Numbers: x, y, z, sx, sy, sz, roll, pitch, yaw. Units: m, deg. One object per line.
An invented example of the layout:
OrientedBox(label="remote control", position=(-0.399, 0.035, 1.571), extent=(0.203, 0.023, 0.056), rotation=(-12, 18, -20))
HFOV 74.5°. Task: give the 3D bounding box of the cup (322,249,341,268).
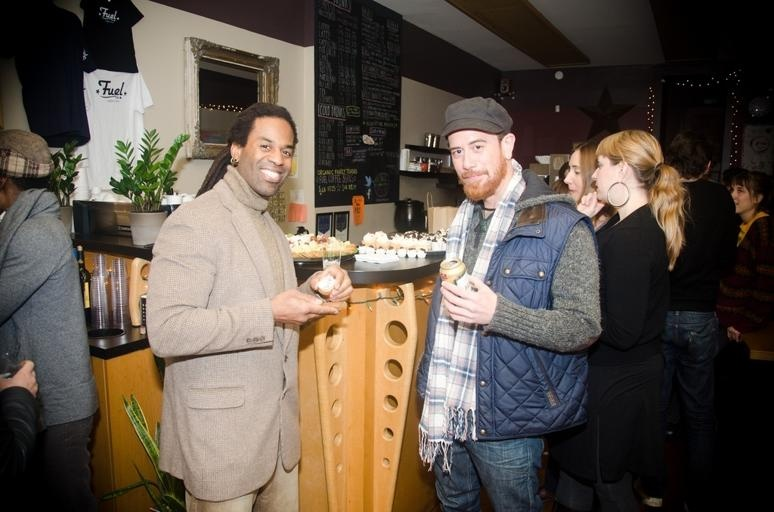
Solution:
OrientedBox(label="cup", position=(-0.277, 0.008, 2.440), extent=(0.081, 0.113, 0.082), rotation=(1, 5, 0))

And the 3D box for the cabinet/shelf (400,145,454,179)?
OrientedBox(label="cabinet/shelf", position=(0.491, -1.194, 6.505), extent=(0.216, 0.341, 0.912), rotation=(11, 10, 43))

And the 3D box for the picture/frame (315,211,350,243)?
OrientedBox(label="picture/frame", position=(-0.548, -0.339, 5.261), extent=(0.259, 0.338, 0.493), rotation=(0, -1, 26))

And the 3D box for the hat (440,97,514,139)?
OrientedBox(label="hat", position=(0.438, -0.614, 2.311), extent=(0.176, 0.106, 0.245), rotation=(4, 11, 33))

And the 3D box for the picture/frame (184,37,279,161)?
OrientedBox(label="picture/frame", position=(-1.306, -1.304, 4.385), extent=(0.106, 0.903, 0.897), rotation=(14, 18, 34))

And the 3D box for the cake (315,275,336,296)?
OrientedBox(label="cake", position=(-0.285, 0.128, 2.360), extent=(0.069, 0.056, 0.095), rotation=(1, 22, 2))

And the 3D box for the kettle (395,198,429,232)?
OrientedBox(label="kettle", position=(0.253, -0.494, 6.047), extent=(0.401, 0.441, 0.418), rotation=(0, 5, -5))

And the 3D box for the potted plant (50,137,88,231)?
OrientedBox(label="potted plant", position=(-2.206, -0.461, 3.541), extent=(0.174, 0.402, 0.148), rotation=(0, 5, -14))

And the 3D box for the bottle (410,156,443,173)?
OrientedBox(label="bottle", position=(0.481, -1.120, 6.364), extent=(0.251, 0.131, 0.313), rotation=(-1, 7, -11))

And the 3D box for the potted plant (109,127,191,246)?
OrientedBox(label="potted plant", position=(-1.567, -0.396, 3.291), extent=(0.370, 0.642, 0.579), rotation=(-9, -2, 9))

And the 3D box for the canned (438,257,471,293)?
OrientedBox(label="canned", position=(0.276, 0.065, 2.090), extent=(0.113, 0.177, 0.114), rotation=(-3, -2, -9))
